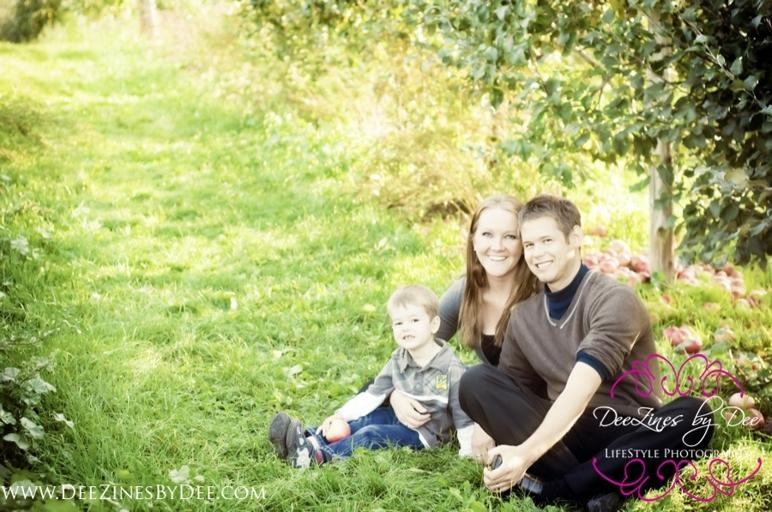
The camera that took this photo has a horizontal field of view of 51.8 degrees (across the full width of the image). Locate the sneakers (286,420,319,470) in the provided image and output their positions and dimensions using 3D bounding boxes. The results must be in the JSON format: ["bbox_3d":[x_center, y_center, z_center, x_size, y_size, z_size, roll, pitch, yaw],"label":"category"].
[{"bbox_3d":[-0.476,1.083,4.499,0.115,0.347,0.156,-20,-29,28],"label":"sneakers"}]

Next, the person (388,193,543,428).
[{"bbox_3d":[0.606,0.361,4.750,1.001,1.389,0.823,-2,20,26],"label":"person"}]

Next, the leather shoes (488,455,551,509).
[{"bbox_3d":[0.722,1.216,4.324,0.290,0.297,0.089,36,-1,2],"label":"leather shoes"}]

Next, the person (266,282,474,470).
[{"bbox_3d":[-0.064,0.702,4.530,1.235,0.958,0.664,0,5,-35],"label":"person"}]
